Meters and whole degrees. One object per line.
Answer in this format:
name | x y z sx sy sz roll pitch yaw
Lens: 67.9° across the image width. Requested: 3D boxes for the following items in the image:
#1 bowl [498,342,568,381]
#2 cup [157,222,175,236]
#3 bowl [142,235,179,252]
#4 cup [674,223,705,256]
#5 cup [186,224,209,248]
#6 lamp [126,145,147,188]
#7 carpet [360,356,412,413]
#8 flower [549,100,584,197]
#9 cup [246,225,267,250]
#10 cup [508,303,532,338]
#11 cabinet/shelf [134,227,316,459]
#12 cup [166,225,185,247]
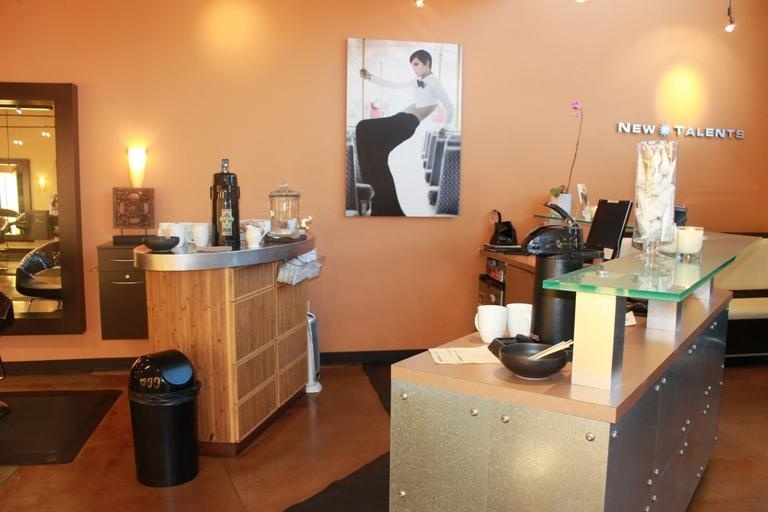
bowl | 0.772 0.542 2.958 0.331 0.147 0.241 1 7 16
cup | -1.696 -0.210 4.467 0.113 0.095 0.142 -5 8 -33
bowl | -1.673 -0.090 4.316 0.242 0.118 0.155 -3 7 -15
cup | 1.949 -0.119 3.596 0.175 0.188 0.178 -1 4 0
cup | -1.474 -0.166 4.515 0.261 0.179 0.131 3 8 29
lamp | -2.508 -0.912 5.830 0.202 0.423 0.158 -3 7 -15
carpet | -0.007 1.263 5.917 0.115 0.438 0.489 -23 -21 15
flower | 2.004 -1.173 6.203 0.265 1.036 0.501 2 7 24
cup | -1.040 -0.156 4.619 0.183 0.184 0.140 2 1 -14
cup | 0.759 0.364 3.246 0.125 0.139 0.193 2 9 9
cabinet/shelf | -1.396 0.745 5.247 1.069 1.613 1.973 0 3 14
cup | -1.604 -0.162 4.404 0.132 0.166 0.179 -1 -6 38
